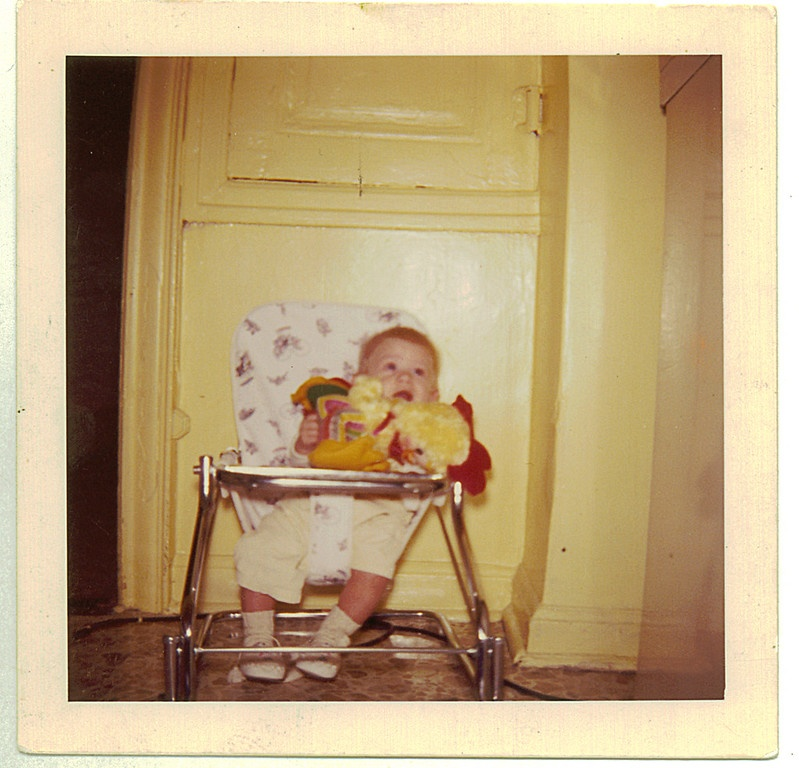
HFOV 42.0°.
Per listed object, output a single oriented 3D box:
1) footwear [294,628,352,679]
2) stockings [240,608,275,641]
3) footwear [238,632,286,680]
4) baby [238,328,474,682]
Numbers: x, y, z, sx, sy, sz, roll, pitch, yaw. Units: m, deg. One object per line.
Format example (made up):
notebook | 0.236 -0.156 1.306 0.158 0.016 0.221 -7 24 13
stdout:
footwear | -0.160 0.574 2.160 0.112 0.117 0.196 6 0 -1
stockings | -0.308 0.520 2.239 0.080 0.061 0.067 -3 -14 -1
footwear | -0.282 0.579 2.162 0.103 0.100 0.164 6 0 -6
baby | -0.120 0.242 2.346 0.497 0.490 0.804 11 40 9
